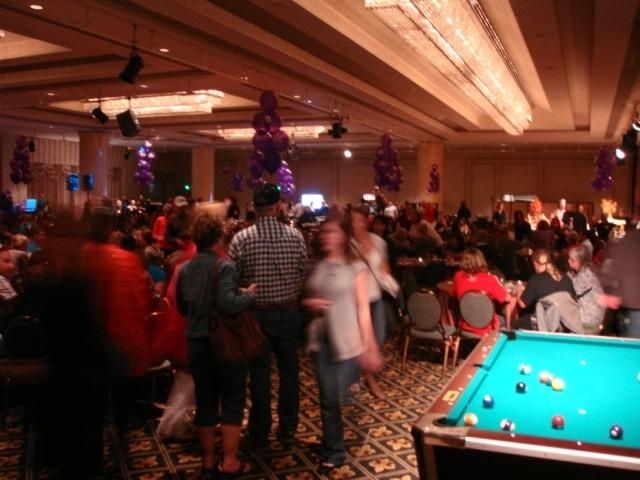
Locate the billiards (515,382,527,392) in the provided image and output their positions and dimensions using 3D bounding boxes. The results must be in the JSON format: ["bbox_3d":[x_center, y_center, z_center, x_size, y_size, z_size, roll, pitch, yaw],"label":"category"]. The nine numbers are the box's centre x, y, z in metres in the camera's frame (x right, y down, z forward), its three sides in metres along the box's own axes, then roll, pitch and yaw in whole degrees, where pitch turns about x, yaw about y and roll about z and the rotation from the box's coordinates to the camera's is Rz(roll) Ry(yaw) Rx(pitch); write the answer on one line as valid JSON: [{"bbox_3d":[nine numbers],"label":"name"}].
[{"bbox_3d":[1.314,0.970,3.168,0.046,0.058,0.065,7,24,31],"label":"billiards"}]

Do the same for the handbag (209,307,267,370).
[{"bbox_3d":[-0.669,0.761,3.794,0.486,0.527,0.255,-5,-10,-41],"label":"handbag"}]

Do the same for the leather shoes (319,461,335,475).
[{"bbox_3d":[0.057,1.883,4.000,0.065,0.079,0.184,-3,-9,38],"label":"leather shoes"}]

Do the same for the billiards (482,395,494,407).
[{"bbox_3d":[1.027,0.991,2.962,0.056,0.067,0.065,-2,-7,5],"label":"billiards"}]

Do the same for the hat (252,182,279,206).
[{"bbox_3d":[-0.465,-0.378,4.099,0.194,0.150,0.201,-2,17,-2],"label":"hat"}]

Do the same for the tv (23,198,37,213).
[{"bbox_3d":[-11.473,-1.329,19.058,0.537,0.594,0.748,5,-1,-17],"label":"tv"}]

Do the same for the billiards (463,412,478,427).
[{"bbox_3d":[0.843,1.015,2.717,0.060,0.064,0.062,-5,1,5],"label":"billiards"}]

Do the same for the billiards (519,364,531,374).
[{"bbox_3d":[1.452,0.915,3.441,0.047,0.052,0.064,8,8,24],"label":"billiards"}]

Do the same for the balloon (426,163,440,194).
[{"bbox_3d":[3.911,-2.082,16.718,0.486,1.028,0.895,2,9,13],"label":"balloon"}]

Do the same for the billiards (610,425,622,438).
[{"bbox_3d":[1.622,1.056,2.653,0.051,0.054,0.066,-3,-5,42],"label":"billiards"}]

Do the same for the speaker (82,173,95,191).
[{"bbox_3d":[-7.492,-1.838,15.491,0.400,0.503,0.283,5,10,26],"label":"speaker"}]

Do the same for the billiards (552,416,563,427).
[{"bbox_3d":[1.356,1.045,2.760,0.059,0.056,0.048,-4,5,1],"label":"billiards"}]
